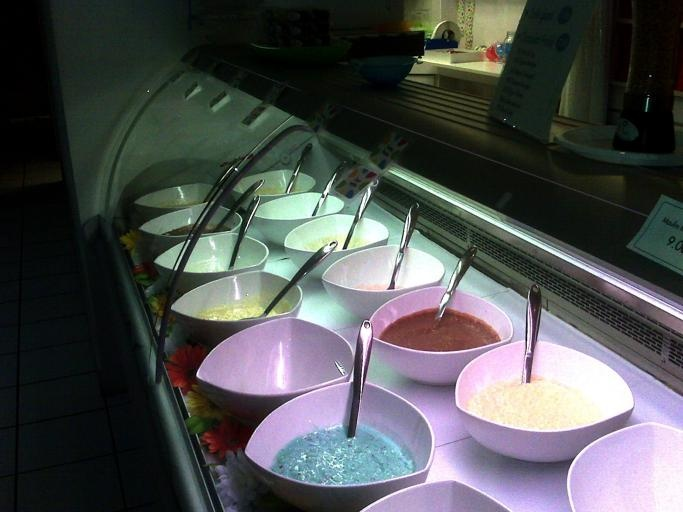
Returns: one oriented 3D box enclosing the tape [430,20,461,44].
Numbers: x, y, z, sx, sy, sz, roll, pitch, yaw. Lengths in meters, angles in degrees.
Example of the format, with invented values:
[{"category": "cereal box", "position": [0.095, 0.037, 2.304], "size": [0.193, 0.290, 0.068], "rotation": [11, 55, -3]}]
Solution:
[{"category": "tape", "position": [0.185, -0.402, 0.880], "size": [0.060, 0.035, 0.011], "rotation": [31, 45, 32]}]
